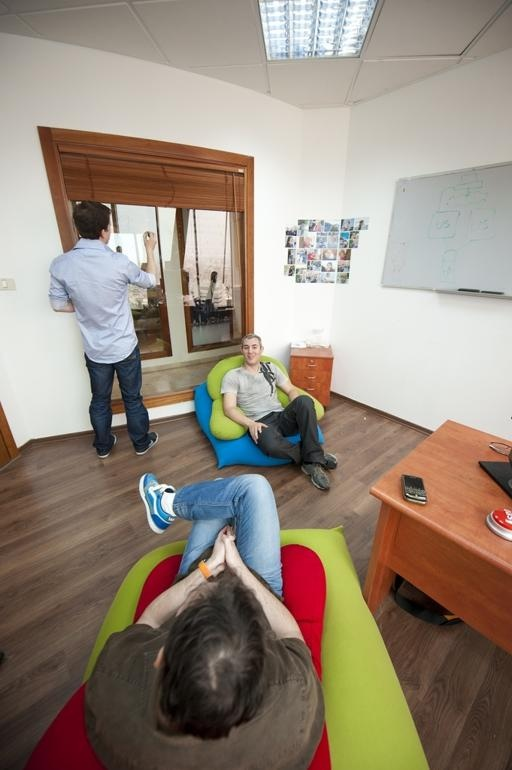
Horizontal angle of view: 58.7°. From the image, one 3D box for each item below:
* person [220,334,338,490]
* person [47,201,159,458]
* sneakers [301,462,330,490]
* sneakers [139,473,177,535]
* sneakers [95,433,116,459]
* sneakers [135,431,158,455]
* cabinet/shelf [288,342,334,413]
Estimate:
[{"bbox_3d":[0.059,0.107,2.585,0.579,0.668,0.817,-2,21,-5],"label":"person"},{"bbox_3d":[-0.865,-0.250,2.506,0.550,1.392,0.199,-10,23,-25],"label":"person"},{"bbox_3d":[0.301,0.488,2.406,0.070,0.074,0.172,-11,24,-29],"label":"sneakers"},{"bbox_3d":[-0.422,0.400,1.760,0.110,0.140,0.319,25,20,-32],"label":"sneakers"},{"bbox_3d":[-0.973,0.370,2.750,0.058,0.073,0.177,3,24,0],"label":"sneakers"},{"bbox_3d":[-0.730,0.361,2.799,0.053,0.068,0.162,6,23,14],"label":"sneakers"},{"bbox_3d":[0.352,-0.053,3.392,0.341,0.525,0.402,-1,25,0],"label":"cabinet/shelf"}]
